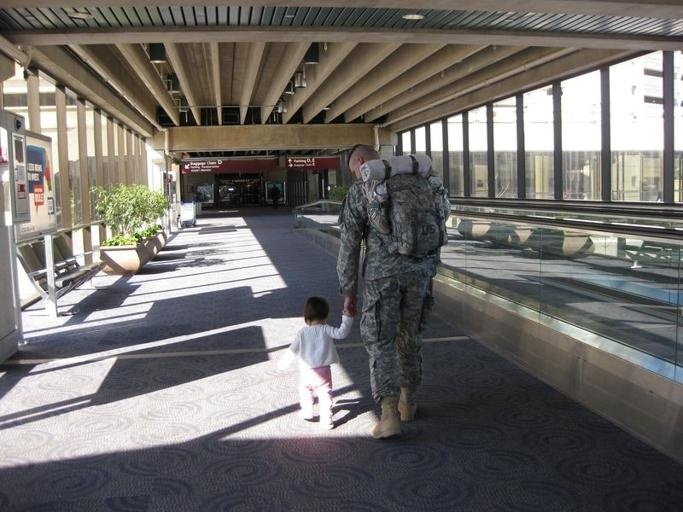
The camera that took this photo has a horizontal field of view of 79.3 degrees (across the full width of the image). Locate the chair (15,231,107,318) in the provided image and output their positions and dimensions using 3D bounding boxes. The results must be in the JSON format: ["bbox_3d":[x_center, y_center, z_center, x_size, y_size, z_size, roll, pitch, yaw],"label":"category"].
[{"bbox_3d":[-5.129,0.409,7.544,0.555,0.622,1.533,-3,7,-8],"label":"chair"}]

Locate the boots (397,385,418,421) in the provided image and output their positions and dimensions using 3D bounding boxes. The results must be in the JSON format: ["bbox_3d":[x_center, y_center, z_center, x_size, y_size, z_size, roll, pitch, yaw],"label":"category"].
[{"bbox_3d":[0.501,1.071,3.125,0.138,0.249,0.370,-2,-7,7],"label":"boots"}]

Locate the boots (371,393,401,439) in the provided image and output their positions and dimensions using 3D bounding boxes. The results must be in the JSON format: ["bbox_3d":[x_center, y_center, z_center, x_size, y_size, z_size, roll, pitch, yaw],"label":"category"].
[{"bbox_3d":[0.293,1.063,2.746,0.148,0.307,0.326,1,-3,-15],"label":"boots"}]

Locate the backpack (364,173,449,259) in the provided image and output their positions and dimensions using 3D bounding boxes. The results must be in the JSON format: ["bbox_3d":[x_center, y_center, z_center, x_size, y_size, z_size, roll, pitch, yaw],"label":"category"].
[{"bbox_3d":[0.517,-0.240,2.673,0.464,0.583,0.584,-2,-8,-28],"label":"backpack"}]

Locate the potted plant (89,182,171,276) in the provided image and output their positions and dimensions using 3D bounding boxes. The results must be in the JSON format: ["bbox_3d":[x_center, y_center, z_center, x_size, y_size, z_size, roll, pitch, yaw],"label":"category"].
[{"bbox_3d":[-6.391,-0.712,12.307,1.752,2.541,3.059,0,7,-4],"label":"potted plant"}]
